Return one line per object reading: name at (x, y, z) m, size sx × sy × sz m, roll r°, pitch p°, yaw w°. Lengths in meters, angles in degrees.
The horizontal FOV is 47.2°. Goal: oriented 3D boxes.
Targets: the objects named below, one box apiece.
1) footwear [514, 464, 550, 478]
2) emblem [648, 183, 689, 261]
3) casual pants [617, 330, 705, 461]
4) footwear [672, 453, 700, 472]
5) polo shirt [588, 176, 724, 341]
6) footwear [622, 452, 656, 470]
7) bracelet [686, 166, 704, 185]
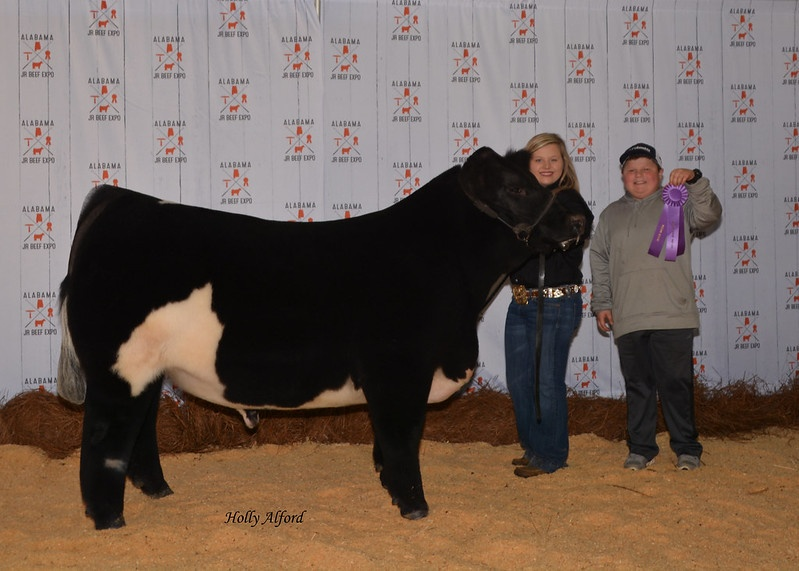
footwear at (1.007, 1.396, 6.995) m, size 0.243 × 0.143 × 0.112 m, roll 4°, pitch -7°, yaw 2°
emblem at (2.046, -0.485, 7.002) m, size 0.272 × 0.584 × 0.165 m, roll 1°, pitch 4°, yaw 12°
casual pants at (1.994, 0.861, 7.170) m, size 0.496 × 1.289 × 0.386 m, roll -10°, pitch -44°, yaw 21°
footwear at (2.214, 1.355, 7.020) m, size 0.179 × 0.109 × 0.106 m, roll 2°, pitch 5°, yaw 13°
polo shirt at (1.983, -0.248, 7.257) m, size 0.826 × 1.198 × 0.605 m, roll -14°, pitch -24°, yaw 30°
footwear at (1.861, 1.375, 7.101) m, size 0.243 × 0.141 × 0.099 m, roll 14°, pitch -16°, yaw -31°
bracelet at (2.243, -0.842, 6.916) m, size 0.172 × 0.100 × 0.075 m, roll -8°, pitch 1°, yaw 2°
